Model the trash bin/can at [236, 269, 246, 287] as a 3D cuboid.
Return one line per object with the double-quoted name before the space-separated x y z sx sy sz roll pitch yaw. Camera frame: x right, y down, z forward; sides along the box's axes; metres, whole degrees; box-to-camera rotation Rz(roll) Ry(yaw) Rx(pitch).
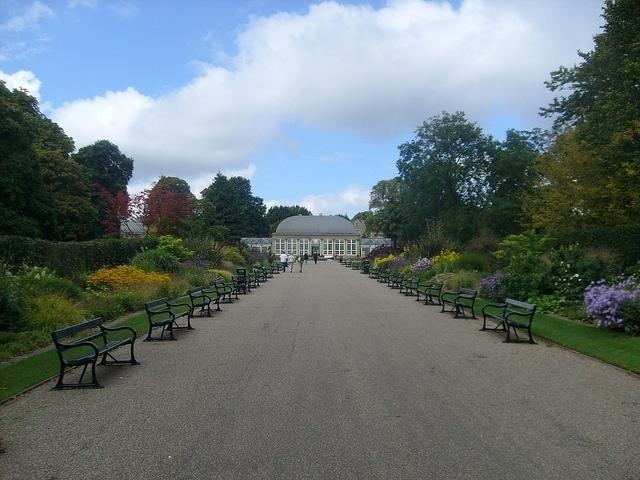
"trash bin/can" -4.042 1.906 22.550 0.552 1.008 0.554 1 -5 -33
